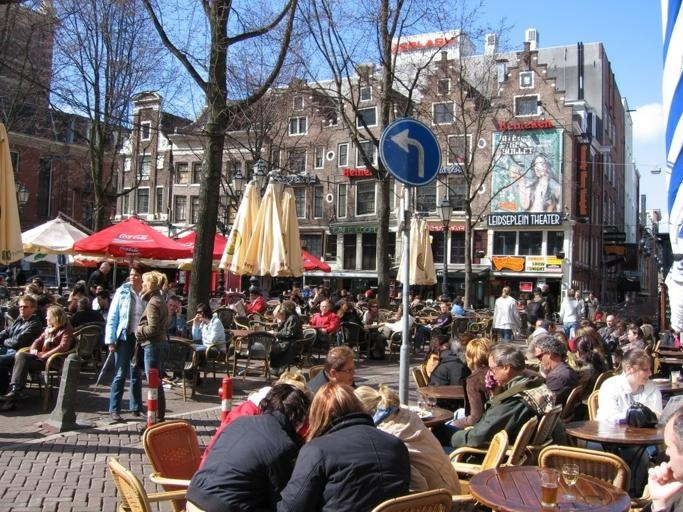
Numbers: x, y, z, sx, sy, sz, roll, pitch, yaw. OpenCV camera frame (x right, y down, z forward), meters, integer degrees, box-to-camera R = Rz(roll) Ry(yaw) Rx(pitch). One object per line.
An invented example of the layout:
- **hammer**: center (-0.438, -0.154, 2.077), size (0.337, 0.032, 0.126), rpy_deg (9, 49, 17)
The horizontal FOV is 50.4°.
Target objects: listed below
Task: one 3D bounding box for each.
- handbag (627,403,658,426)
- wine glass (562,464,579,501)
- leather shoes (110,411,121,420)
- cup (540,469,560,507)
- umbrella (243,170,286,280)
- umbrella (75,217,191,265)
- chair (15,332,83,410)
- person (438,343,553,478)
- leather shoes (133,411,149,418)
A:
- **handbag**: center (3.461, 1.840, 8.354), size (0.221, 0.141, 0.306), rpy_deg (2, -2, -27)
- **wine glass**: center (2.050, 2.021, 6.524), size (0.134, 0.284, 0.305), rpy_deg (0, -6, 17)
- **leather shoes**: center (-3.367, 2.384, 10.801), size (0.068, 0.098, 0.207), rpy_deg (4, -5, -10)
- **cup**: center (1.829, 2.048, 6.376), size (0.134, 0.288, 0.287), rpy_deg (0, -6, 17)
- **umbrella**: center (-1.654, -0.711, 16.442), size (0.949, 2.235, 0.706), rpy_deg (1, -6, 6)
- **umbrella**: center (-5.291, -0.524, 18.533), size (2.697, 1.082, 1.170), rpy_deg (4, -6, -14)
- **chair**: center (-4.887, 1.711, 11.764), size (0.854, 1.248, 0.928), rpy_deg (3, -6, -10)
- **person**: center (1.819, 1.824, 8.418), size (1.170, 1.606, 0.923), rpy_deg (3, 15, 29)
- **leather shoes**: center (-3.069, 2.429, 11.105), size (0.205, 0.092, 0.075), rpy_deg (-3, -2, 10)
